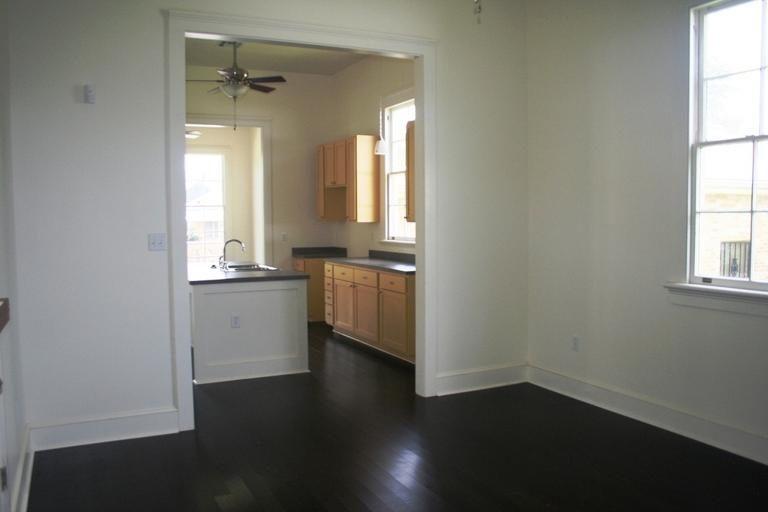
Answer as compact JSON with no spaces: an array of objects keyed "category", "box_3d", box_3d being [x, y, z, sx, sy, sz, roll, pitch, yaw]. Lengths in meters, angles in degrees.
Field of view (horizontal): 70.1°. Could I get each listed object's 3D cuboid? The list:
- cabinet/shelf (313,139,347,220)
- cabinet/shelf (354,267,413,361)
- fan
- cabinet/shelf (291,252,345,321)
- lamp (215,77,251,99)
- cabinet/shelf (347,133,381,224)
[{"category":"cabinet/shelf","box_3d":[-0.819,-1.188,8.492,0.412,1.442,1.257,0,3,-14]},{"category":"cabinet/shelf","box_3d":[0.020,0.678,6.436,0.401,0.960,1.070,1,-1,-26]},{"category":"fan","box_3d":[-1.905,-2.268,6.695,1.057,0.650,1.157,-18,25,-42]},{"category":"cabinet/shelf","box_3d":[-1.165,0.439,9.035,0.988,1.562,1.047,0,-1,-10]},{"category":"lamp","box_3d":[-1.914,-2.078,6.869,0.449,0.227,0.452,3,8,44]},{"category":"cabinet/shelf","box_3d":[-0.298,-1.116,7.889,0.468,1.255,0.311,-2,9,-7]}]
